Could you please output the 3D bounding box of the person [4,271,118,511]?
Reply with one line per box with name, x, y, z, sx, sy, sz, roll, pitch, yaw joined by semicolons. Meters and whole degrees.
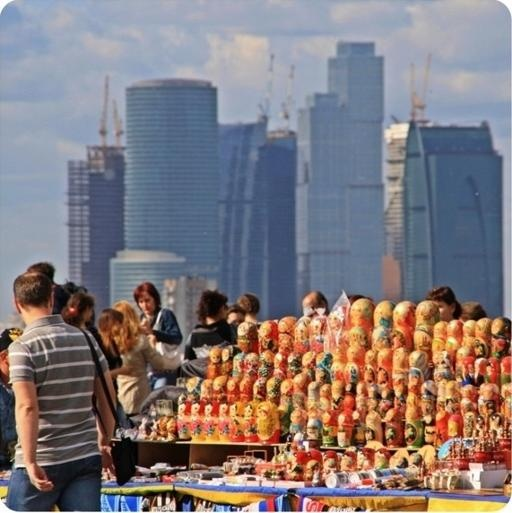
person;-1.418;0.955;13.232;0.660;1.690;0.285;0;-2;-9
